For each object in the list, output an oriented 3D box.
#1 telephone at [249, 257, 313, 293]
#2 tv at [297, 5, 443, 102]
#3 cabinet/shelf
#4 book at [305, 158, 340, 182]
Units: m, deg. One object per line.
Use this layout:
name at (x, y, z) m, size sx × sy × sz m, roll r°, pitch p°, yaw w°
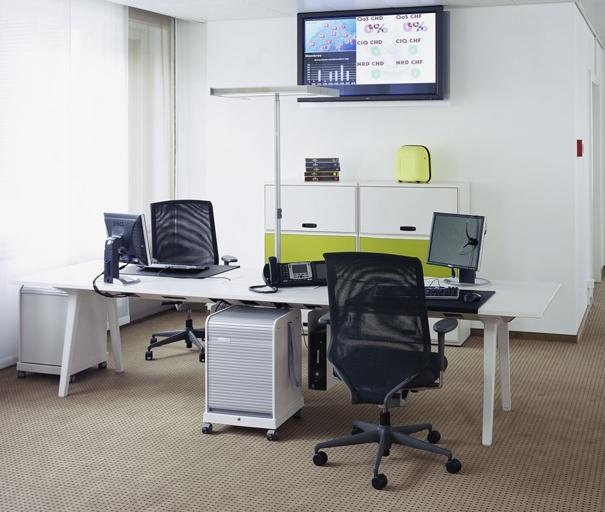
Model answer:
telephone at (-0.165, 0.140, 3.642) m, size 0.555 × 0.257 × 0.237 m, roll -1°, pitch 6°, yaw 39°
tv at (0.731, -2.066, 5.396) m, size 1.469 × 0.848 × 0.162 m, roll 1°, pitch 6°, yaw 16°
cabinet/shelf at (0.531, 0.019, 3.891) m, size 1.624 × 1.333 × 0.575 m, roll 1°, pitch 3°, yaw 18°
book at (0.187, -0.886, 5.642) m, size 0.236 × 0.251 × 0.339 m, roll 2°, pitch 3°, yaw 22°
